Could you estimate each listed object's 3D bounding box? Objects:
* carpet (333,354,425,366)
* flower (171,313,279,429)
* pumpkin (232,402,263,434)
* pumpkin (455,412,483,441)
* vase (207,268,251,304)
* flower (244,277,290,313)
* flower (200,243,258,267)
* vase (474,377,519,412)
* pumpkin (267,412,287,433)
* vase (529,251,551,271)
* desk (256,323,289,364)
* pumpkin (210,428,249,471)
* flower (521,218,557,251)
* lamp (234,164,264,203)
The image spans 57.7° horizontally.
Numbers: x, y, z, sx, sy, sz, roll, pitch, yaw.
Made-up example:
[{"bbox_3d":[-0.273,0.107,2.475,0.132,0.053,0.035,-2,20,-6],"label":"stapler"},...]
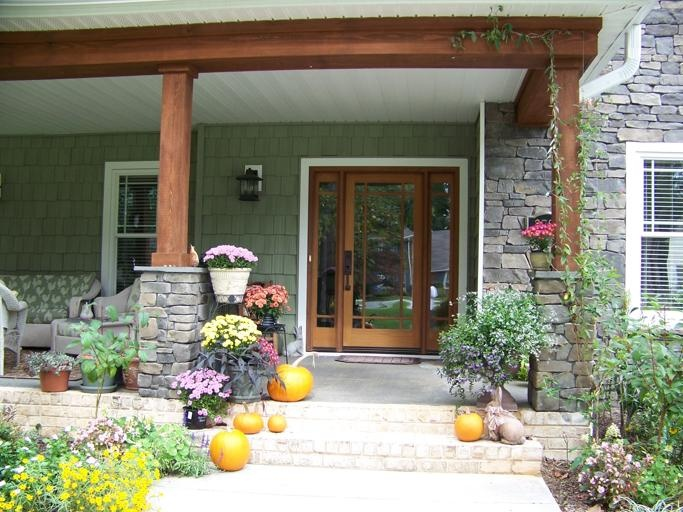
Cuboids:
[{"bbox_3d":[0.442,1.241,7.415,1.014,0.041,0.520,0,0,2],"label":"carpet"},{"bbox_3d":[-1.019,0.996,5.636,0.782,1.004,0.872,6,2,45],"label":"flower"},{"bbox_3d":[-0.808,1.416,5.405,0.255,0.253,0.266,1,-6,-5],"label":"pumpkin"},{"bbox_3d":[1.081,1.449,5.282,0.218,0.229,0.212,1,-8,-5],"label":"pumpkin"},{"bbox_3d":[-1.039,0.278,5.731,0.333,0.264,0.338,1,-4,-7],"label":"vase"},{"bbox_3d":[-0.747,0.425,6.363,0.374,0.274,0.385,2,2,-1],"label":"flower"},{"bbox_3d":[-1.057,0.015,5.751,0.294,0.154,0.289,-1,3,-34],"label":"flower"},{"bbox_3d":[1.360,1.211,5.412,0.260,0.167,0.264,0,-2,-11],"label":"vase"},{"bbox_3d":[-0.559,1.450,5.388,0.143,0.151,0.142,1,-8,0],"label":"pumpkin"},{"bbox_3d":[1.753,0.041,5.461,0.187,0.165,0.153,-1,-1,24],"label":"vase"},{"bbox_3d":[-0.765,0.983,7.111,0.471,0.554,0.477,0,-7,0],"label":"desk"},{"bbox_3d":[-0.884,1.571,5.040,0.309,0.328,0.304,2,-7,-5],"label":"pumpkin"},{"bbox_3d":[1.781,-0.174,5.556,0.315,0.327,0.286,2,-3,19],"label":"flower"},{"bbox_3d":[-1.178,-0.939,7.909,0.340,0.468,0.225,0,-1,0],"label":"lamp"}]
